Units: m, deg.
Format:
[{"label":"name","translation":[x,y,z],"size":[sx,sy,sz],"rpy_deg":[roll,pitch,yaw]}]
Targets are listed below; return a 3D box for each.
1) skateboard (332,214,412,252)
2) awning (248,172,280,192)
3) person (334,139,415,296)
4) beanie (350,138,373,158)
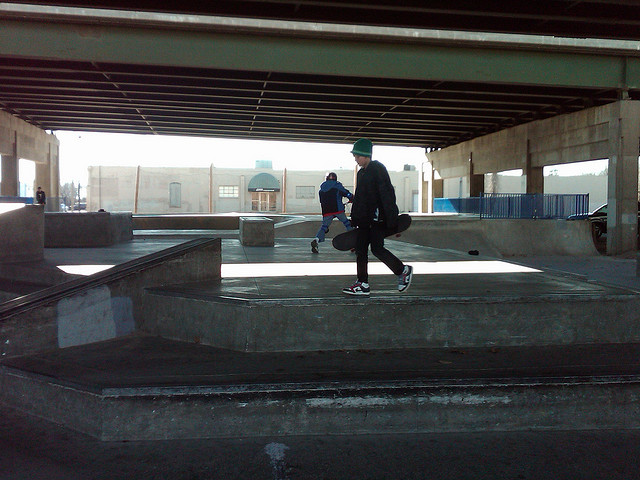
[{"label":"skateboard","translation":[0.848,-0.112,12.009],"size":[1.990,0.476,0.274],"rpy_deg":[-9,6,-11]},{"label":"awning","translation":[-5.256,-5.257,68.635],"size":[2.050,1.289,2.020],"rpy_deg":[1,7,-6]},{"label":"person","translation":[0.859,-0.378,12.006],"size":[1.277,2.511,0.681],"rpy_deg":[0,4,-5]},{"label":"beanie","translation":[0.695,-1.493,12.000],"size":[0.300,0.292,0.371],"rpy_deg":[1,4,7]}]
